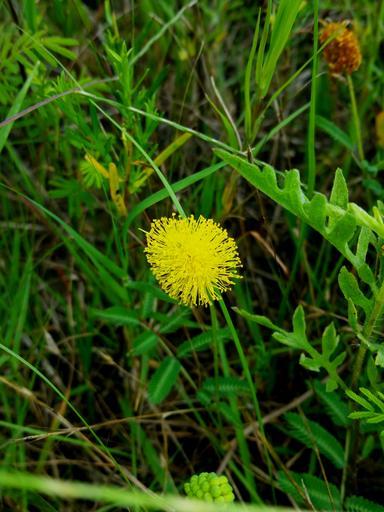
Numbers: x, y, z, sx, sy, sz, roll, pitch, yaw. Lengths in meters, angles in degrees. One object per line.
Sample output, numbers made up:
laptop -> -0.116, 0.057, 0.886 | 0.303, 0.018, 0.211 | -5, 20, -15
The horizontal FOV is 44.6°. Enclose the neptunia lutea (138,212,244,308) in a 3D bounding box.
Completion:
neptunia lutea -> -0.002, -0.017, 1.210 | 0.241, 0.233, 0.148 | -8, 65, 20
